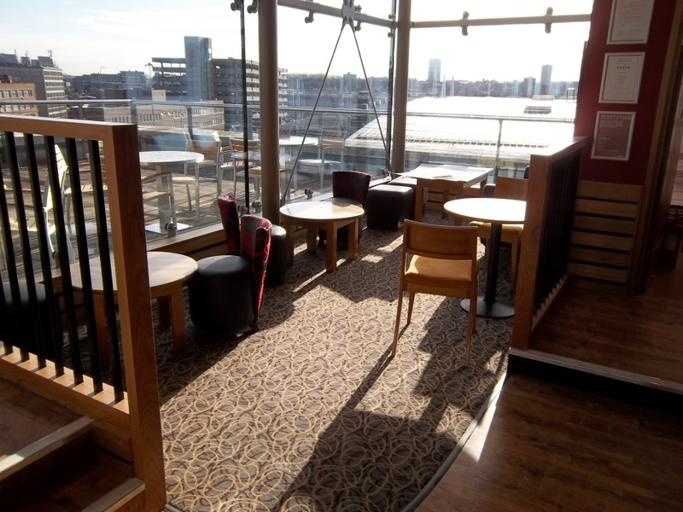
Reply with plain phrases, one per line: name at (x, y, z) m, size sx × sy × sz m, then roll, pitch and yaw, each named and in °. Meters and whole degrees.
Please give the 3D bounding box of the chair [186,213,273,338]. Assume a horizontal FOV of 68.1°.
chair at (-0.953, 0.148, 4.329) m, size 0.547 × 0.853 × 0.688 m, roll 18°, pitch 24°, yaw 36°

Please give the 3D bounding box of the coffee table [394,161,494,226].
coffee table at (1.441, -1.091, 7.301) m, size 0.963 × 0.645 × 1.262 m, roll 10°, pitch 29°, yaw 23°

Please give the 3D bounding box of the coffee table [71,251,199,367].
coffee table at (-1.560, 0.573, 4.103) m, size 0.703 × 0.521 × 0.734 m, roll -25°, pitch 2°, yaw 34°

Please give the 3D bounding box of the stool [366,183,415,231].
stool at (0.629, -0.654, 7.416) m, size 0.572 × 0.532 × 0.666 m, roll 5°, pitch 2°, yaw 13°

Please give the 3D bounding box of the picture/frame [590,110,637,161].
picture/frame at (2.465, -1.089, 4.538) m, size 0.413 × 0.627 × 0.061 m, roll 4°, pitch 17°, yaw 23°

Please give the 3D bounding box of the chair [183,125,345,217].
chair at (-0.957, -0.976, 5.891) m, size 1.067 × 0.533 × 1.025 m, roll 2°, pitch 28°, yaw -4°

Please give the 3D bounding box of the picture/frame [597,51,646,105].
picture/frame at (2.465, -1.571, 4.409) m, size 0.379 × 0.542 × 0.052 m, roll 14°, pitch 26°, yaw 28°

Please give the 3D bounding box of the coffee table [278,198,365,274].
coffee table at (-0.188, -0.443, 5.908) m, size 0.880 × 0.590 × 0.872 m, roll 11°, pitch 30°, yaw 22°
